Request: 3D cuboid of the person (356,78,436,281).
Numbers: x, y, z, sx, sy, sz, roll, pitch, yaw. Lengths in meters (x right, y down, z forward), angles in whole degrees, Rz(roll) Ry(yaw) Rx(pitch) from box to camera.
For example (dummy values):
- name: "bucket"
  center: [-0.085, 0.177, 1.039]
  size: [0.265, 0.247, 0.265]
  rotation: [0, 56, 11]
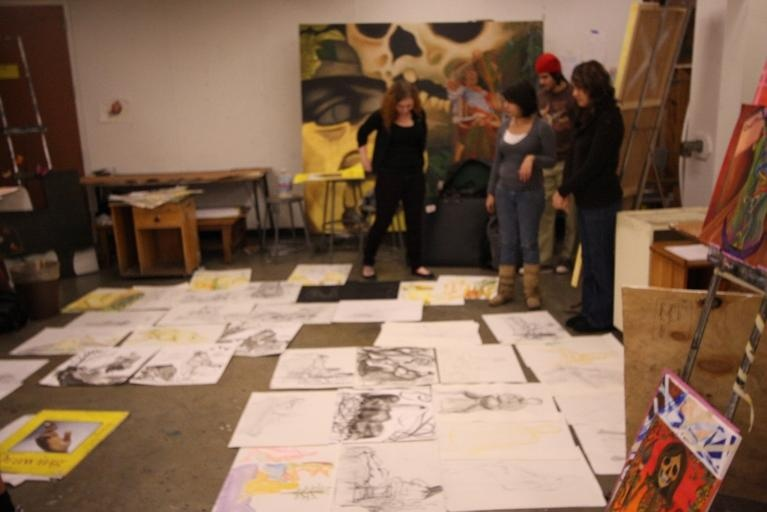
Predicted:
- name: "person"
  center: [0.101, -0.714, 5.664]
  size: [0.688, 1.913, 0.324]
  rotation: [-3, 17, 0]

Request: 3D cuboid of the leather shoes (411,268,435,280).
- name: "leather shoes"
  center: [0.417, 0.174, 5.847]
  size: [0.198, 0.068, 0.107]
  rotation: [5, 17, 25]

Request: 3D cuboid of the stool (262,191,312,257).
- name: "stool"
  center: [-1.175, -0.401, 7.049]
  size: [0.638, 0.772, 0.610]
  rotation: [-3, 27, -2]

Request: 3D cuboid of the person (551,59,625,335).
- name: "person"
  center: [1.582, -0.416, 4.455]
  size: [0.496, 2.079, 0.337]
  rotation: [6, 19, 27]

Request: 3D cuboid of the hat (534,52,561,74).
- name: "hat"
  center: [1.552, -1.769, 5.350]
  size: [0.245, 0.174, 0.229]
  rotation: [-9, 19, -27]

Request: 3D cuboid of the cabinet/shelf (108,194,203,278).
- name: "cabinet/shelf"
  center: [-2.437, -0.218, 6.217]
  size: [0.833, 0.816, 0.514]
  rotation: [-3, 16, -1]

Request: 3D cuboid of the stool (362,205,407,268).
- name: "stool"
  center: [0.012, -0.208, 6.253]
  size: [0.596, 0.736, 0.542]
  rotation: [3, 25, -6]

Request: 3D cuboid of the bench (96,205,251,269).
- name: "bench"
  center: [-2.307, 0.003, 6.522]
  size: [1.366, 0.775, 0.746]
  rotation: [-1, 8, 0]

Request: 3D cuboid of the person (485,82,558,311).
- name: "person"
  center: [1.188, -0.512, 5.009]
  size: [0.525, 1.917, 0.535]
  rotation: [-1, 17, 6]
